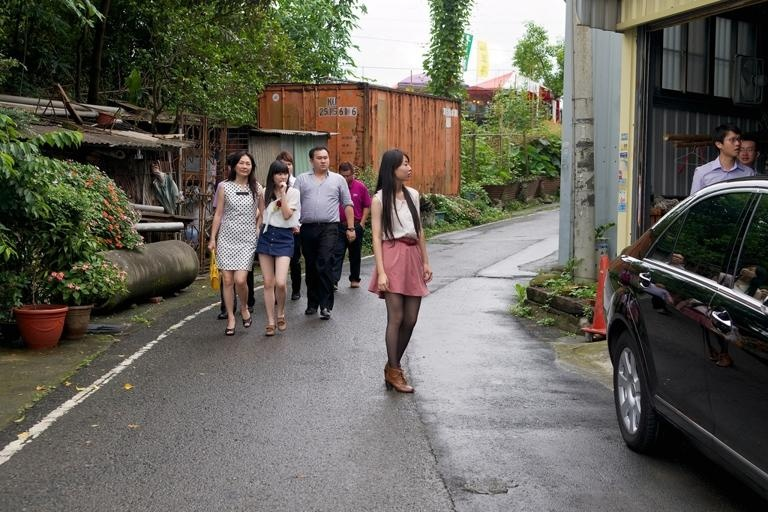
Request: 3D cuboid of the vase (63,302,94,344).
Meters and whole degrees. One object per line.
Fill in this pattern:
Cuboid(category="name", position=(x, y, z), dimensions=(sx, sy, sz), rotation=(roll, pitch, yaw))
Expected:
Cuboid(category="vase", position=(-4.631, 1.000, 7.842), dimensions=(0.441, 0.377, 0.436), rotation=(-4, 5, -41))

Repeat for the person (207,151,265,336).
Cuboid(category="person", position=(-2.252, -0.219, 8.014), dimensions=(0.797, 2.779, 0.603), rotation=(-2, 6, -14))

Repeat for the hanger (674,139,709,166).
Cuboid(category="hanger", position=(5.107, -1.681, 8.597), dimensions=(0.053, 0.427, 0.749), rotation=(10, 10, -18))

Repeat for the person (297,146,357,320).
Cuboid(category="person", position=(-1.068, -0.437, 9.272), dimensions=(0.812, 2.871, 1.394), rotation=(0, 6, 10))

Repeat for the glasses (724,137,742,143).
Cuboid(category="glasses", position=(4.287, -1.422, 6.393), dimensions=(0.097, 0.035, 0.101), rotation=(-1, -1, -4))

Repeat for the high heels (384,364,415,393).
Cuboid(category="high heels", position=(0.163, 1.347, 5.771), dimensions=(0.151, 0.200, 0.445), rotation=(-4, 5, -37))

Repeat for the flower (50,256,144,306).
Cuboid(category="flower", position=(-4.645, 0.397, 8.350), dimensions=(1.053, 0.555, 0.996), rotation=(11, -4, 9))

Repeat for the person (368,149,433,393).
Cuboid(category="person", position=(0.166, 0.132, 5.766), dimensions=(0.676, 2.622, 0.660), rotation=(0, 6, 3))
